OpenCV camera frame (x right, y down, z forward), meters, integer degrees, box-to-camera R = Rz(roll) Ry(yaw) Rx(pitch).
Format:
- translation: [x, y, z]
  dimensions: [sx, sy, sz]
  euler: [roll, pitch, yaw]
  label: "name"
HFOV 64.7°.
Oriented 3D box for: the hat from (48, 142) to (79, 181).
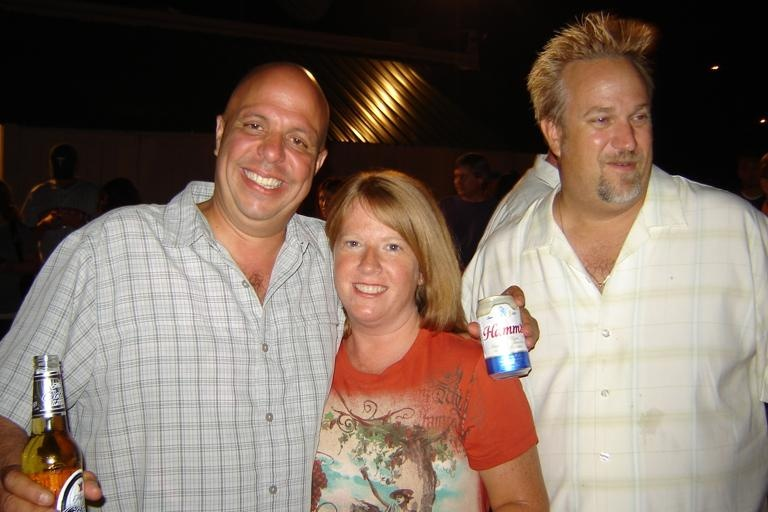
- translation: [-3.348, -0.991, 6.384]
  dimensions: [0.290, 0.396, 0.395]
  euler: [2, 6, -32]
  label: "hat"
